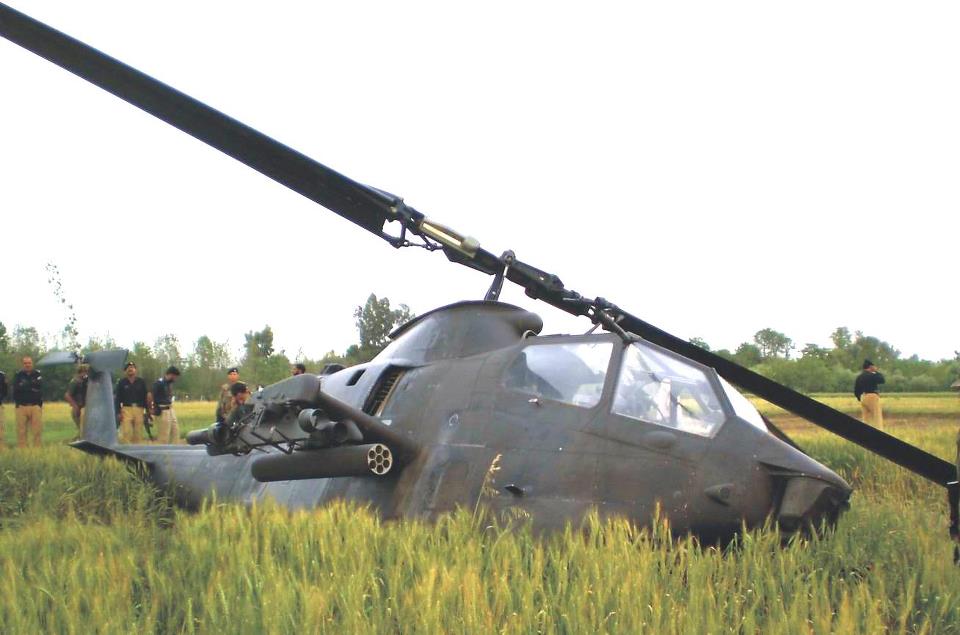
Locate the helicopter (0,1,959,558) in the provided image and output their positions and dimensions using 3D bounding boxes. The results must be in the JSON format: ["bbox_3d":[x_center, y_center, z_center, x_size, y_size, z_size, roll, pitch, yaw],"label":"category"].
[{"bbox_3d":[-0.264,-0.624,8.988,5.552,1.643,5.810,26,-7,24],"label":"helicopter"}]

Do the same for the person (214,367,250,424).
[{"bbox_3d":[-3.812,1.297,15.543,0.327,0.956,0.255,0,-33,-8],"label":"person"}]
